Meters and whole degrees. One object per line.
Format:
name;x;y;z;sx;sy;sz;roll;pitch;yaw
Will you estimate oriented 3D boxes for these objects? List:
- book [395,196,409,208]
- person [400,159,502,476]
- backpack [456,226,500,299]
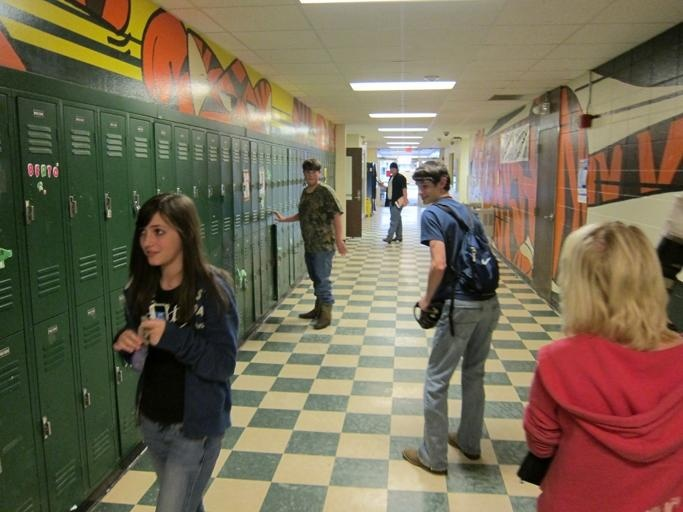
book;1.513;-1.372;11.468;0.314;0.316;0.114;-38;14;2
person;0.713;0.529;2.993;0.570;1.745;0.361;-3;12;-14
backpack;0.856;0.034;2.888;0.270;0.399;0.224;-13;13;-32
